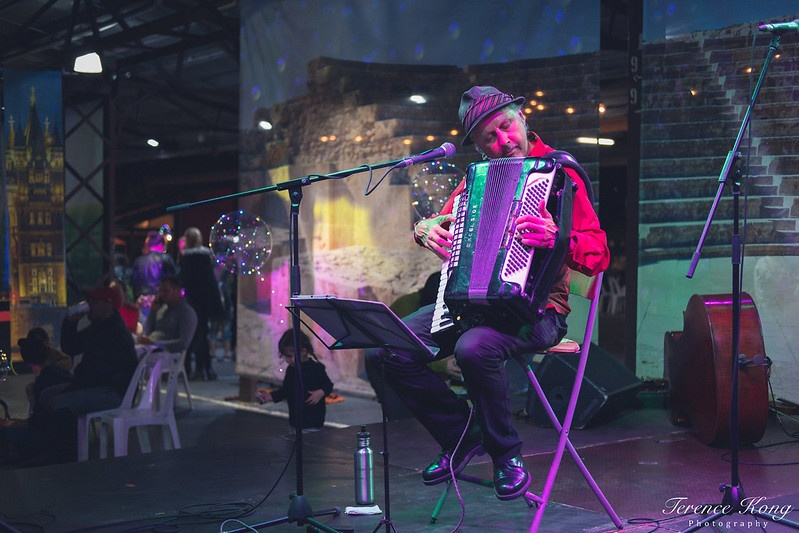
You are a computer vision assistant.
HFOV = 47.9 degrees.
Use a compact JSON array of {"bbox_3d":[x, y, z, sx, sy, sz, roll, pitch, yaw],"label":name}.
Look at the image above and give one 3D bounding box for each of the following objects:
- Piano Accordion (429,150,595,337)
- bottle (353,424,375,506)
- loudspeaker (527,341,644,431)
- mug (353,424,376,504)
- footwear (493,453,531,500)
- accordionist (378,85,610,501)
[{"bbox_3d":[0.626,-0.094,5.641,0.849,1.073,0.773,-1,-5,-33],"label":"Piano Accordion"},{"bbox_3d":[-0.237,1.300,5.980,0.136,0.569,0.227,-1,10,-3],"label":"bottle"},{"bbox_3d":[1.565,1.002,7.634,0.716,0.662,0.982,-2,-5,34],"label":"loudspeaker"},{"bbox_3d":[-0.201,1.323,5.959,0.127,0.497,0.122,-8,-10,18],"label":"mug"},{"bbox_3d":[0.682,1.289,5.488,0.216,0.243,0.171,-1,10,-2],"label":"footwear"},{"bbox_3d":[0.571,0.147,5.835,1.342,2.564,1.272,-2,-3,38],"label":"accordionist"}]
